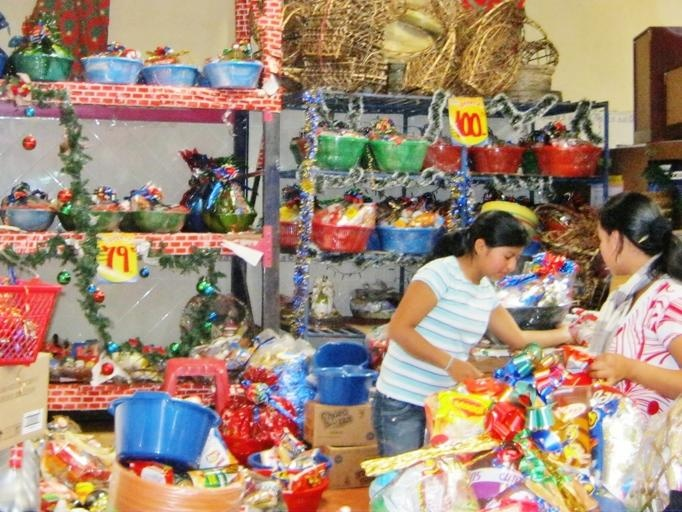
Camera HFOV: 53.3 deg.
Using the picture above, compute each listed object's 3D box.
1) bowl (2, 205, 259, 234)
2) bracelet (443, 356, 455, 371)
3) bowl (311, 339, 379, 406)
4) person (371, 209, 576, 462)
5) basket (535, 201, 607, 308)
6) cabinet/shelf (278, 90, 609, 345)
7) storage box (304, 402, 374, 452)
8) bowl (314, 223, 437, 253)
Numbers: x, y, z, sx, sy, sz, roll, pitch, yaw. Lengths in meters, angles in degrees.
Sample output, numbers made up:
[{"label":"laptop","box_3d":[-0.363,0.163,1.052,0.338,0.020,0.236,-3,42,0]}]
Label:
[{"label":"bowl","box_3d":[-1.146,-0.199,3.724,1.328,0.133,0.239,0,6,-17]},{"label":"bracelet","box_3d":[0.382,0.377,2.383,0.011,0.041,0.041,27,-16,-14]},{"label":"bowl","box_3d":[-0.005,0.601,3.550,0.241,0.221,0.329,1,-8,-6]},{"label":"person","box_3d":[0.725,0.249,3.200,0.988,1.674,0.670,2,4,21]},{"label":"basket","box_3d":[1.575,-0.013,4.602,0.511,0.621,0.225,1,-8,7]},{"label":"cabinet/shelf","box_3d":[0.630,-0.269,4.083,1.950,1.837,0.626,0,2,-7]},{"label":"storage box","box_3d":[-0.013,0.835,3.343,0.334,0.204,0.331,0,-1,2]},{"label":"bowl","box_3d":[0.260,-0.112,4.338,0.365,0.089,0.374,-1,-7,0]}]
